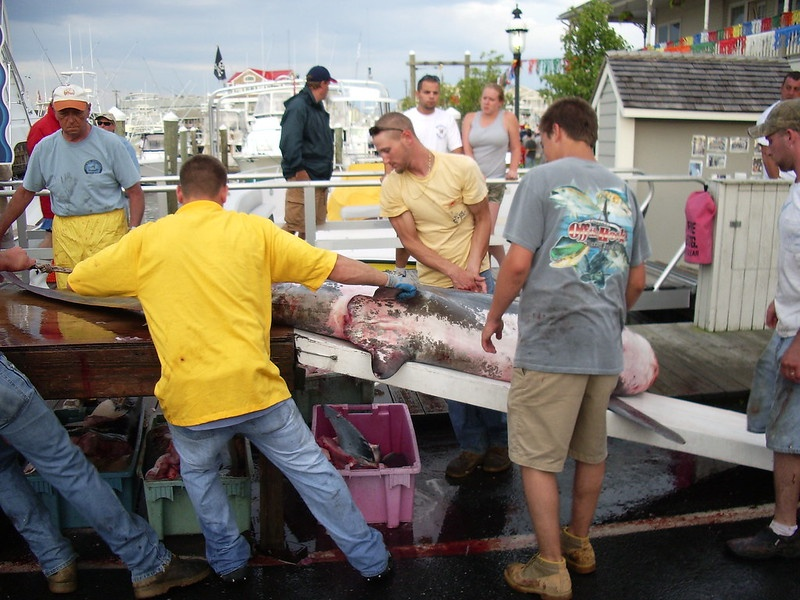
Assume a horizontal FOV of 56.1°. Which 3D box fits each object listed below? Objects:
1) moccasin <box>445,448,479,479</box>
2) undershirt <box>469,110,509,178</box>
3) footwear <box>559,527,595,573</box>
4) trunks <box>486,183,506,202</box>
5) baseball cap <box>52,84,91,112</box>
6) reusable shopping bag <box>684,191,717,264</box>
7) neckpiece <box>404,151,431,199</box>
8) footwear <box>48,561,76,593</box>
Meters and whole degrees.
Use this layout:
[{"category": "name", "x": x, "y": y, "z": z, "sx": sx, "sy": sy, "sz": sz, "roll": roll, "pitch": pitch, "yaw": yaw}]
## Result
[{"category": "moccasin", "x": 0.438, "y": 1.151, "z": 5.323, "sx": 0.278, "sy": 0.124, "sz": 0.120, "roll": -19, "pitch": 28, "yaw": -40}, {"category": "undershirt", "x": 0.866, "y": -1.623, "z": 7.912, "sx": 0.357, "sy": 0.771, "sz": 0.387, "roll": 20, "pitch": 28, "yaw": 40}, {"category": "footwear", "x": 1.018, "y": 1.452, "z": 4.379, "sx": 0.121, "sy": 0.150, "sz": 0.314, "roll": -7, "pitch": 12, "yaw": -10}, {"category": "trunks", "x": 0.945, "y": -1.076, "z": 7.478, "sx": 0.178, "sy": 0.203, "sz": 0.186, "roll": 7, "pitch": 20, "yaw": 9}, {"category": "baseball cap", "x": -2.349, "y": -1.441, "z": 5.366, "sx": 0.268, "sy": 0.191, "sz": 0.203, "roll": -14, "pitch": 20, "yaw": -30}, {"category": "reusable shopping bag", "x": 2.875, "y": -0.685, "z": 7.242, "sx": 0.219, "sy": 0.695, "sz": 0.361, "roll": -3, "pitch": 17, "yaw": 0}, {"category": "neckpiece", "x": 0.103, "y": -0.833, "z": 5.024, "sx": 0.193, "sy": 0.291, "sz": 0.074, "roll": -7, "pitch": 1, "yaw": 18}, {"category": "footwear", "x": -1.872, "y": 1.571, "z": 4.182, "sx": 0.155, "sy": 0.179, "sz": 0.159, "roll": -2, "pitch": 8, "yaw": -24}]
